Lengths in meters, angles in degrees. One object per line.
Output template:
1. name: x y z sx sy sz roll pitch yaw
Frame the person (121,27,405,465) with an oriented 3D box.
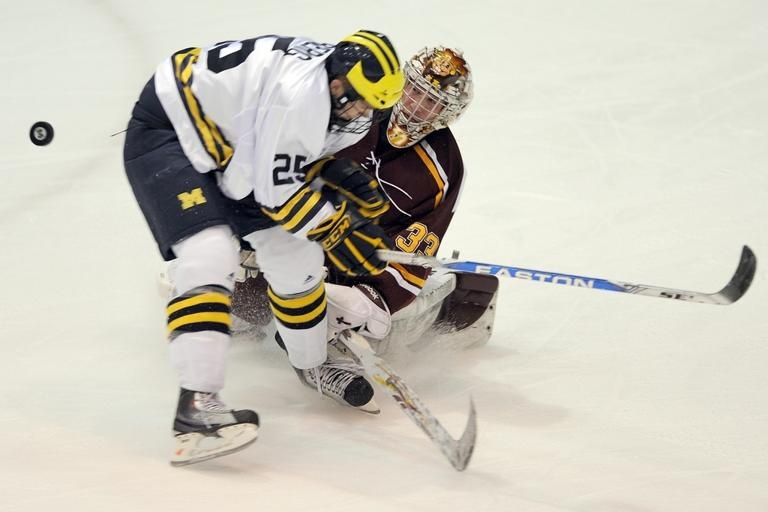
1. person: -0.426 -0.156 3.625 1.537 1.900 1.175 0 21 2

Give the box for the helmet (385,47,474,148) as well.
1. helmet: 0.268 -0.837 4.219 0.440 0.475 0.397 -16 69 -22

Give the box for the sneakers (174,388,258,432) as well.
1. sneakers: -0.711 0.649 3.292 0.351 0.171 0.114 0 21 -4

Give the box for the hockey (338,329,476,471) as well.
1. hockey: 0.145 0.661 3.695 0.055 0.278 0.978 23 15 -50

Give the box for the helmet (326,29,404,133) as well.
1. helmet: -0.211 -0.744 3.441 0.523 0.387 0.370 -2 19 -14

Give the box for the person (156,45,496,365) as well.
1. person: -0.306 -0.215 3.641 1.462 1.236 0.765 32 29 9
